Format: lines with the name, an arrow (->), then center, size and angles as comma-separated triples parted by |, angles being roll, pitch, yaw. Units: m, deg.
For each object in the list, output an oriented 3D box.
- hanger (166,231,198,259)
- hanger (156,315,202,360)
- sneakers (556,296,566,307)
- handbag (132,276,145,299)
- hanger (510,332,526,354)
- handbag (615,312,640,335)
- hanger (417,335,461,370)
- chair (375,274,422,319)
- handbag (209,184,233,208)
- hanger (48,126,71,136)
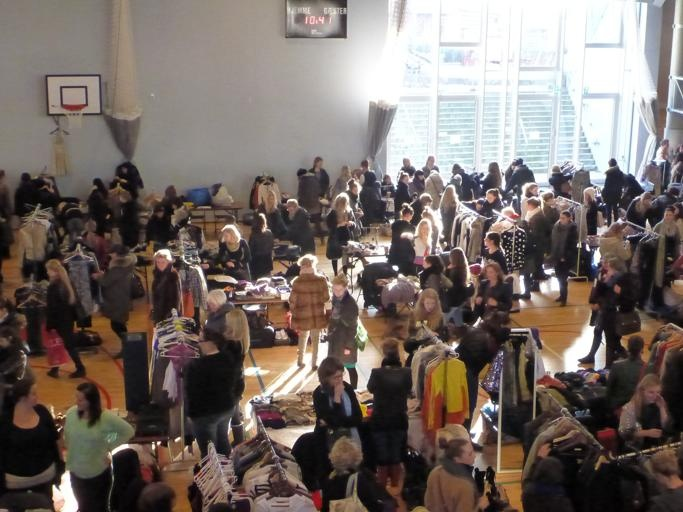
hanger -> -2.316, -0.151, 9.522 | 0.376, 0.214, 0.499 | 10, 11, -7
hanger -> -1.690, 0.811, 6.636 | 0.328, 0.180, 0.488 | 1, 24, -4
sneakers -> 3.592, 0.747, 10.676 | 0.127, 0.265, 0.376 | -3, -4, 20
handbag -> -3.022, 0.474, 9.620 | 0.188, 0.250, 0.354 | -20, 11, -15
hanger -> 1.801, 0.882, 6.639 | 0.189, 0.196, 0.053 | 2, 0, -4
handbag -> 3.464, 0.812, 7.912 | 0.248, 0.246, 0.123 | -4, -3, -8
hanger -> 0.915, 0.993, 6.400 | 0.313, 0.295, 0.496 | -5, 7, -24
chair -> 0.883, 0.656, 9.478 | 0.618, 0.304, 0.630 | 15, 19, 41
handbag -> -2.805, -1.410, 15.061 | 0.588, 0.620, 0.410 | 3, -9, -9
hanger -> -6.462, -2.866, 14.854 | 0.438, 0.170, 0.058 | -3, 6, -13
